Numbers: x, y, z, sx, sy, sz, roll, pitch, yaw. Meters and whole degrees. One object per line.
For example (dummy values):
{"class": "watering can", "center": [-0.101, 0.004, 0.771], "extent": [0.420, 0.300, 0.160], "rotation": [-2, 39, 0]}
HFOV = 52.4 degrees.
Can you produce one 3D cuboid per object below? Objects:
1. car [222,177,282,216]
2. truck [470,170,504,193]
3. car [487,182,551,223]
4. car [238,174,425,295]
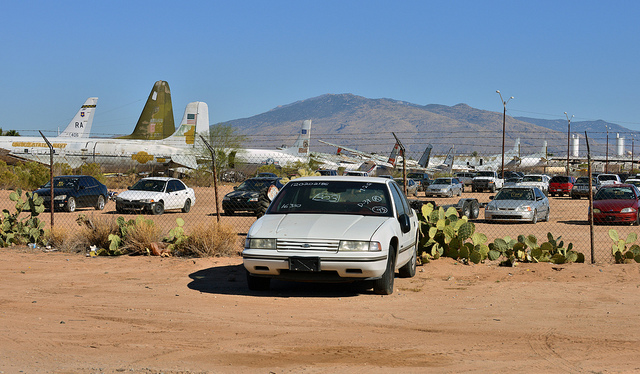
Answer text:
{"class": "car", "center": [-3.439, 0.337, 30.835], "extent": [1.699, 1.559, 4.196], "rotation": [0, 0, 20]}
{"class": "truck", "center": [13.693, -0.404, 53.493], "extent": [2.181, 1.622, 4.901], "rotation": [-1, -1, 17]}
{"class": "car", "center": [8.815, 0.850, 28.935], "extent": [1.650, 1.413, 4.591], "rotation": [0, 0, 34]}
{"class": "car", "center": [0.555, 0.952, 15.340], "extent": [2.712, 2.265, 7.335], "rotation": [0, 0, 13]}
